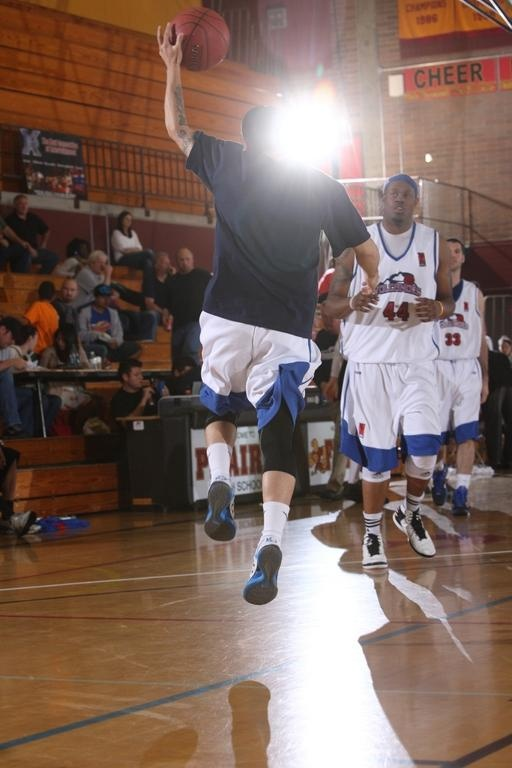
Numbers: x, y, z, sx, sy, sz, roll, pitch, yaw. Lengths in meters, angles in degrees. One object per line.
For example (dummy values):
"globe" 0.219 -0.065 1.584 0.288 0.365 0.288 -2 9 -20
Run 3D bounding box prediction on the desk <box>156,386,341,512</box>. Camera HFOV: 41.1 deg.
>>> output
"desk" -0.167 0.685 6.519 1.917 1.282 1.094 1 -6 -24

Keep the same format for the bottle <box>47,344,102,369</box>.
"bottle" -2.122 -0.268 7.592 0.335 0.186 0.524 0 -7 1

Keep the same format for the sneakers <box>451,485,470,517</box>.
"sneakers" 1.552 0.843 5.050 0.103 0.136 0.325 0 17 6

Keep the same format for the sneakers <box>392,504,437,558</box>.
"sneakers" 0.799 0.743 3.433 0.134 0.272 0.297 -2 4 -4

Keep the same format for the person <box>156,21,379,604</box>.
"person" 0.082 -0.266 2.153 0.688 1.685 0.881 -2 4 -7

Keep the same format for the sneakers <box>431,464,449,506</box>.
"sneakers" 1.524 0.851 5.725 0.147 0.416 0.186 1 5 24

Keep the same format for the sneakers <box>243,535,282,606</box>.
"sneakers" 0.020 0.533 1.847 0.095 0.211 0.209 -2 4 2

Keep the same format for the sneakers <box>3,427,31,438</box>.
"sneakers" -2.287 0.467 6.454 0.097 0.109 0.246 1 5 34

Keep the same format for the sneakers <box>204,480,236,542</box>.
"sneakers" -0.105 0.397 2.067 0.094 0.190 0.133 2 8 5
